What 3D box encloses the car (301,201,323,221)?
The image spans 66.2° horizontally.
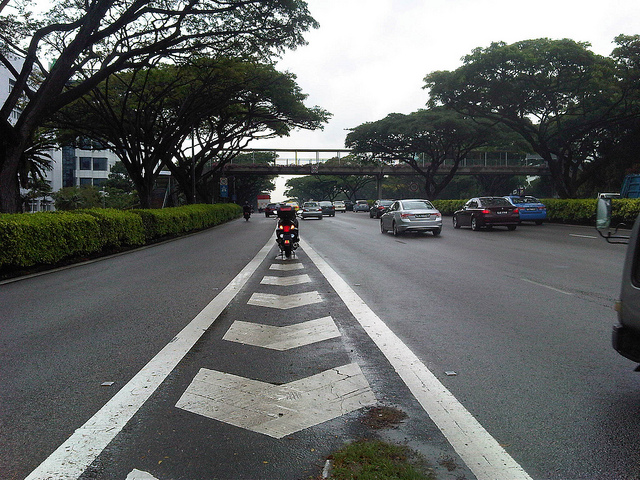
[{"bbox_3d":[-0.798,-2.743,47.572,1.732,1.465,4.216,0,7,-4],"label":"car"}]

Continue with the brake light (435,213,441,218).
[{"bbox_3d":[5.508,-1.147,23.022,0.334,0.178,0.593,-1,0,0],"label":"brake light"}]

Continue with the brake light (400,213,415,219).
[{"bbox_3d":[4.056,-1.118,22.988,0.676,0.259,0.183,2,6,31],"label":"brake light"}]

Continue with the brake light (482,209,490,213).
[{"bbox_3d":[8.294,-1.446,24.589,0.348,0.154,0.146,2,6,29],"label":"brake light"}]

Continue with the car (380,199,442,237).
[{"bbox_3d":[4.255,-1.076,23.976,1.910,1.717,3.146,-3,5,-21],"label":"car"}]

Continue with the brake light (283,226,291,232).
[{"bbox_3d":[-0.951,-0.298,14.140,0.200,0.127,0.186,6,-31,-5],"label":"brake light"}]

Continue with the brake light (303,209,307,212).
[{"bbox_3d":[-1.450,-2.817,46.739,0.218,0.227,0.060,-2,0,16],"label":"brake light"}]

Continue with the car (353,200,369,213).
[{"bbox_3d":[6.453,-5.313,77.852,1.545,1.234,2.760,1,10,1],"label":"car"}]

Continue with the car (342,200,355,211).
[{"bbox_3d":[5.573,-6.839,96.981,1.634,1.350,3.022,0,9,0],"label":"car"}]

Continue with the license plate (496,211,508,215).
[{"bbox_3d":[9.052,-1.349,24.442,0.523,0.153,0.128,-2,5,-8],"label":"license plate"}]

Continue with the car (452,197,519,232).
[{"bbox_3d":[9.278,-1.430,26.636,3.031,1.749,4.692,-2,5,-11],"label":"car"}]

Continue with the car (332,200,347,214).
[{"bbox_3d":[3.085,-5.459,78.563,1.630,1.352,3.947,0,2,0],"label":"car"}]

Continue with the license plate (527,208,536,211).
[{"bbox_3d":[12.839,-1.851,29.847,0.472,0.152,0.111,0,5,7],"label":"license plate"}]

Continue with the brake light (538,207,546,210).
[{"bbox_3d":[13.448,-1.906,29.831,0.426,0.119,0.155,-2,5,-14],"label":"brake light"}]
